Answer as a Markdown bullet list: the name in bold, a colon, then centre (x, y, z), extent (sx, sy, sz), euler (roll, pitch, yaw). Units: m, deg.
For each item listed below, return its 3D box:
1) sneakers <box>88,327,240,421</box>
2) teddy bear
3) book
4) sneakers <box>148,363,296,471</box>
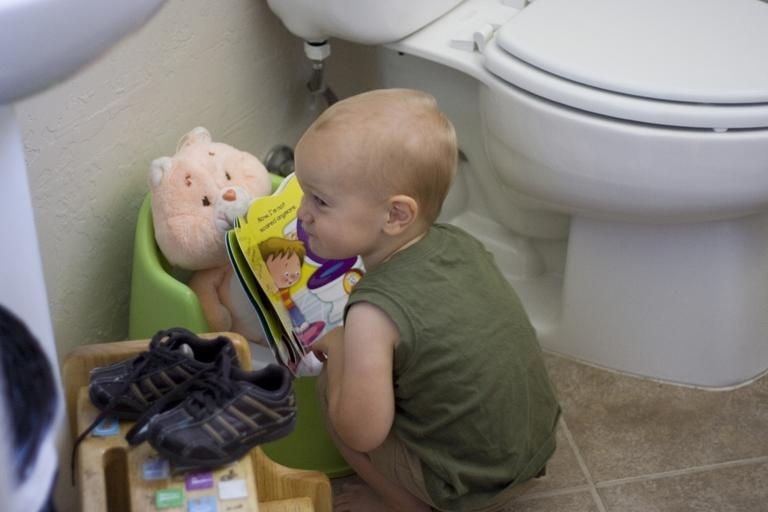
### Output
- **sneakers**: centre (-0.308, 0.160, 0.913), extent (0.187, 0.090, 0.113), euler (-15, 60, -13)
- **teddy bear**: centre (-0.304, -0.040, 1.139), extent (0.180, 0.280, 0.264), euler (2, 50, 4)
- **book**: centre (-0.145, 0.028, 1.011), extent (0.212, 0.258, 0.094), euler (-41, 26, -27)
- **sneakers**: centre (-0.222, 0.216, 0.880), extent (0.182, 0.097, 0.106), euler (-22, 59, -33)
